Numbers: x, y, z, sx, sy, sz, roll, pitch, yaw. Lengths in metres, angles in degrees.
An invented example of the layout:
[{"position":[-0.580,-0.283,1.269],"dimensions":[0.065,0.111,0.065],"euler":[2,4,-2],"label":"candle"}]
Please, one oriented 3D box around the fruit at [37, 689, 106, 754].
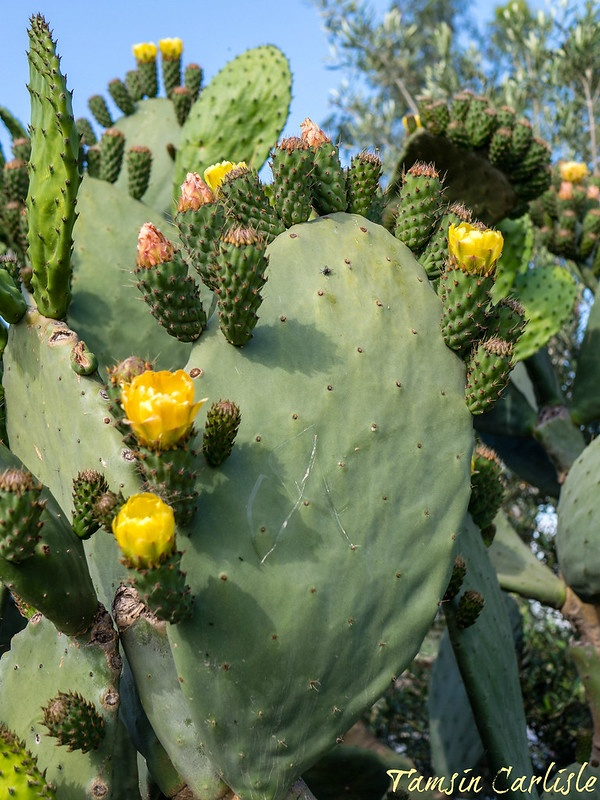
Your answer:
[{"position":[-0.538,0.769,2.492],"dimensions":[0.150,0.173,0.117],"euler":[-6,13,-21],"label":"fruit"}]
